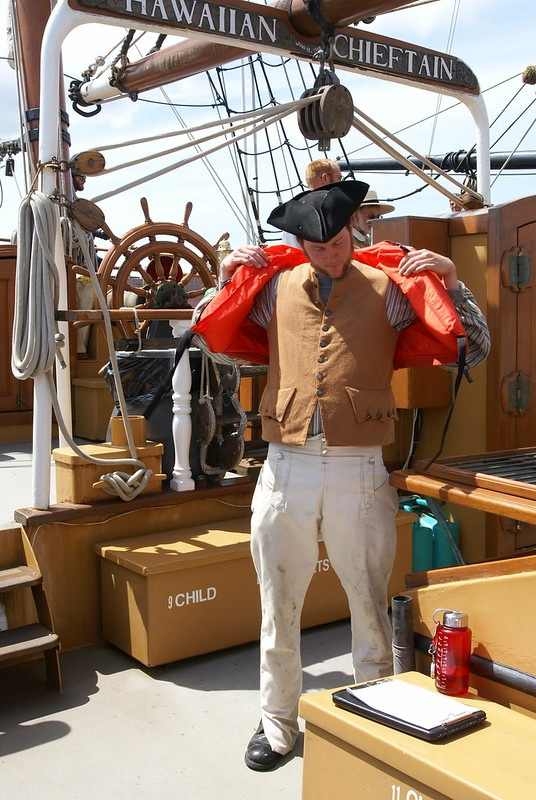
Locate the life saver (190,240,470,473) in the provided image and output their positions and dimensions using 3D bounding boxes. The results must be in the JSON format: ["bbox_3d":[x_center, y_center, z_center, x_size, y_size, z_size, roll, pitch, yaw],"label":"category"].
[{"bbox_3d":[0.187,-0.254,1.899,0.721,0.380,0.361,4,0,12],"label":"life saver"}]

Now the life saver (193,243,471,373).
[{"bbox_3d":[0.167,-0.252,1.901,0.705,0.341,0.323,0,-3,4],"label":"life saver"}]

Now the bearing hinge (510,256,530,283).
[{"bbox_3d":[1.098,-0.569,3.017,0.118,0.145,0.027,-2,2,-28],"label":"bearing hinge"}]

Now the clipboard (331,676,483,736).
[{"bbox_3d":[0.244,0.533,1.196,0.100,0.030,0.132,-3,6,-40],"label":"clipboard"}]

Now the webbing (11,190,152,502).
[{"bbox_3d":[-0.721,-0.113,2.593,0.412,1.293,0.274,4,17,-3],"label":"webbing"}]

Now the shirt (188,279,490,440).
[{"bbox_3d":[0.164,-0.125,1.840,0.747,0.452,0.241,1,2,19],"label":"shirt"}]

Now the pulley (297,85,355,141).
[{"bbox_3d":[0.246,-1.233,2.927,0.129,0.239,0.187,16,24,42],"label":"pulley"}]

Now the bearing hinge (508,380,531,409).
[{"bbox_3d":[1.113,-0.030,3.093,0.131,0.183,0.039,-2,2,-34],"label":"bearing hinge"}]
